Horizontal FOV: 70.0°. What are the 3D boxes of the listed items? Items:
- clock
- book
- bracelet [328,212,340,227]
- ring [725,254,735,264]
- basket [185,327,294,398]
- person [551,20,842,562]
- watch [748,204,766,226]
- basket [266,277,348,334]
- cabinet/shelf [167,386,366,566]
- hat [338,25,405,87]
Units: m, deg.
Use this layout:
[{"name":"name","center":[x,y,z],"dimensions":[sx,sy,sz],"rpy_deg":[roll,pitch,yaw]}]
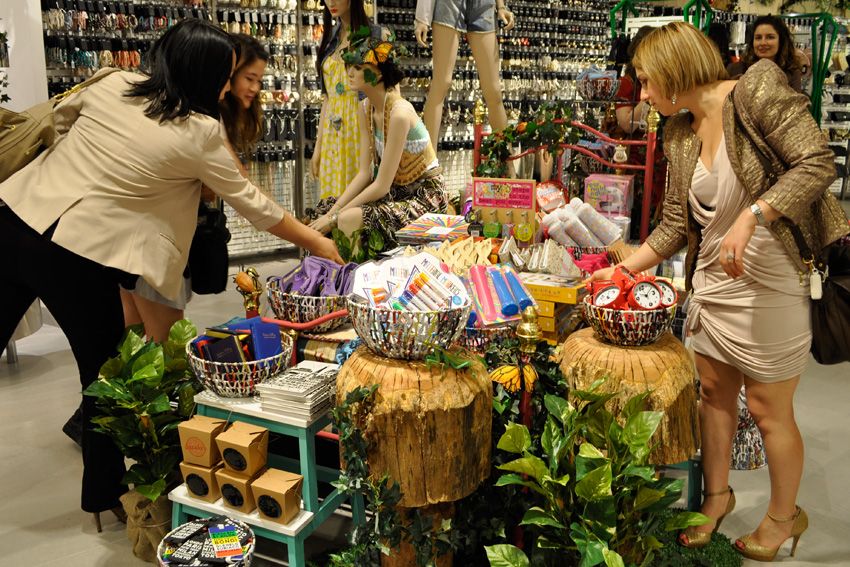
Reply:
[{"name":"clock","center":[0.865,0.101,2.578],"dimensions":[0.300,0.234,0.331],"rpy_deg":[7,17,26]},{"name":"book","center":[-0.846,0.263,2.821],"dimensions":[0.285,0.101,0.223],"rpy_deg":[-4,19,-24]},{"name":"bracelet","center":[-0.649,-0.452,4.320],"dimensions":[0.050,0.077,0.062],"rpy_deg":[-3,-19,3]},{"name":"ring","center":[1.235,-0.096,2.484],"dimensions":[0.030,0.042,0.015],"rpy_deg":[2,9,42]},{"name":"basket","center":[-0.840,0.407,2.775],"dimensions":[0.284,0.128,0.312],"rpy_deg":[2,18,-3]},{"name":"person","center":[1.363,0.096,2.763],"dimensions":[0.867,2.456,0.567],"rpy_deg":[5,11,33]},{"name":"watch","center":[1.335,-0.286,2.504],"dimensions":[0.072,0.074,0.070],"rpy_deg":[-30,20,-24]},{"name":"basket","center":[-0.598,0.111,3.004],"dimensions":[0.298,0.143,0.309],"rpy_deg":[1,7,-1]},{"name":"cabinet/shelf","center":[-0.652,0.797,2.933],"dimensions":[0.780,0.818,0.766],"rpy_deg":[7,19,21]},{"name":"hat","center":[-0.351,-1.547,4.140],"dimensions":[0.406,0.444,0.224],"rpy_deg":[-14,13,2]}]
